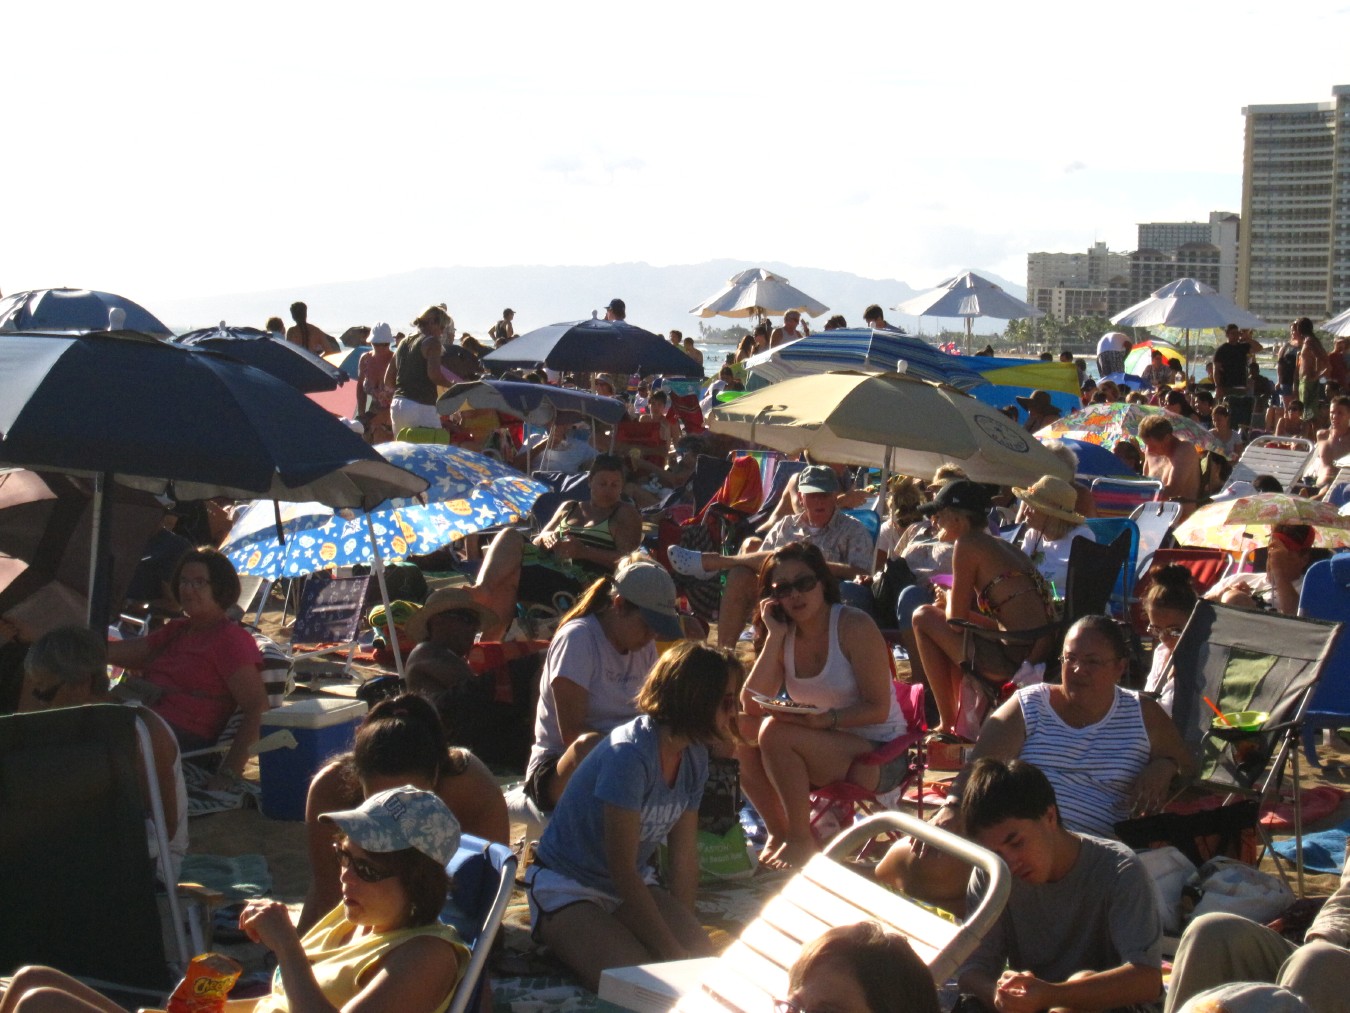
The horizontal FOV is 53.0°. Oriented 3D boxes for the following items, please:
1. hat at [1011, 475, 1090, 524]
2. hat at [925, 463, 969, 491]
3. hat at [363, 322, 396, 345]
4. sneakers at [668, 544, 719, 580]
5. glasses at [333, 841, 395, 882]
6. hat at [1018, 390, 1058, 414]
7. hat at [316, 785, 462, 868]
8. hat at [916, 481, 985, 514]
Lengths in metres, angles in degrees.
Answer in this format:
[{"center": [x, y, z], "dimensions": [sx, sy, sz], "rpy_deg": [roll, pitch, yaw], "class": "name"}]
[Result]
[{"center": [2.235, 0.011, 8.008], "dimensions": [0.305, 0.123, 0.300], "rpy_deg": [26, 15, 2], "class": "hat"}, {"center": [1.777, -0.142, 8.793], "dimensions": [0.215, 0.176, 0.311], "rpy_deg": [3, 18, 38], "class": "hat"}, {"center": [-3.467, -2.014, 15.868], "dimensions": [0.288, 0.206, 0.420], "rpy_deg": [1, 10, -5], "class": "hat"}, {"center": [0.116, 0.387, 8.987], "dimensions": [0.244, 0.133, 0.222], "rpy_deg": [13, 0, 41], "class": "sneakers"}, {"center": [-0.874, 1.014, 3.827], "dimensions": [0.104, 0.034, 0.112], "rpy_deg": [16, -3, 33], "class": "glasses"}, {"center": [4.478, -1.287, 16.838], "dimensions": [0.459, 0.224, 0.565], "rpy_deg": [8, -11, 10], "class": "hat"}, {"center": [-0.810, 0.906, 3.838], "dimensions": [0.322, 0.190, 0.221], "rpy_deg": [27, -3, -13], "class": "hat"}, {"center": [1.483, -0.038, 7.041], "dimensions": [0.230, 0.142, 0.167], "rpy_deg": [7, 4, 13], "class": "hat"}]
